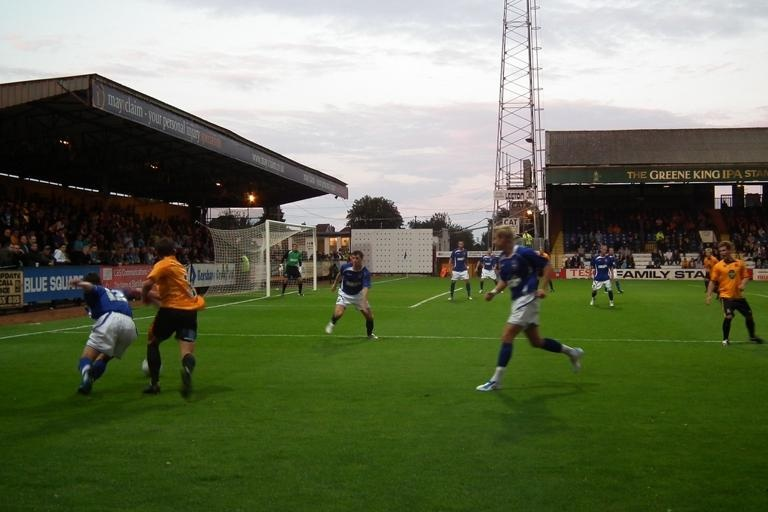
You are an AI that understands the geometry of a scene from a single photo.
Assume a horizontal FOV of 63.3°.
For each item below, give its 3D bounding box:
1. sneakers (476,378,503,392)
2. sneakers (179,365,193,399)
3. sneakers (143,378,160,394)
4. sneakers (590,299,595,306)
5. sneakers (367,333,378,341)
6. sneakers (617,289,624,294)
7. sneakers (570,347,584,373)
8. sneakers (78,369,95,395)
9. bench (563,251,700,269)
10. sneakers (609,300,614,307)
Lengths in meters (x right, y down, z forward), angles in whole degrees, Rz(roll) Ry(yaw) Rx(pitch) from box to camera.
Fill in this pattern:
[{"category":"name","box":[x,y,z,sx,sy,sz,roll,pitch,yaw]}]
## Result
[{"category":"sneakers","box":[1.645,2.025,9.713,0.387,0.154,0.146,-2,-6,-5]},{"category":"sneakers","box":[-2.883,1.858,9.202,0.189,0.485,0.219,-2,4,5]},{"category":"sneakers","box":[-3.546,1.993,9.517,0.251,0.192,0.255,-3,7,-21]},{"category":"sneakers","box":[7.248,1.627,21.506,0.166,0.181,0.479,-1,-5,13]},{"category":"sneakers","box":[-0.261,1.822,13.960,0.140,0.139,0.341,3,-5,-42]},{"category":"sneakers","box":[10.360,1.561,27.314,0.293,0.201,0.096,-22,22,17]},{"category":"sneakers","box":[3.207,1.742,10.329,0.257,0.536,0.188,-4,24,14]},{"category":"sneakers","box":[-4.316,1.818,9.031,0.175,0.393,0.255,-3,7,-23]},{"category":"bench","box":[15.894,0.284,39.044,11.584,0.628,1.984,1,3,4]},{"category":"sneakers","box":[7.671,1.612,21.013,0.154,0.181,0.448,1,5,17]}]
